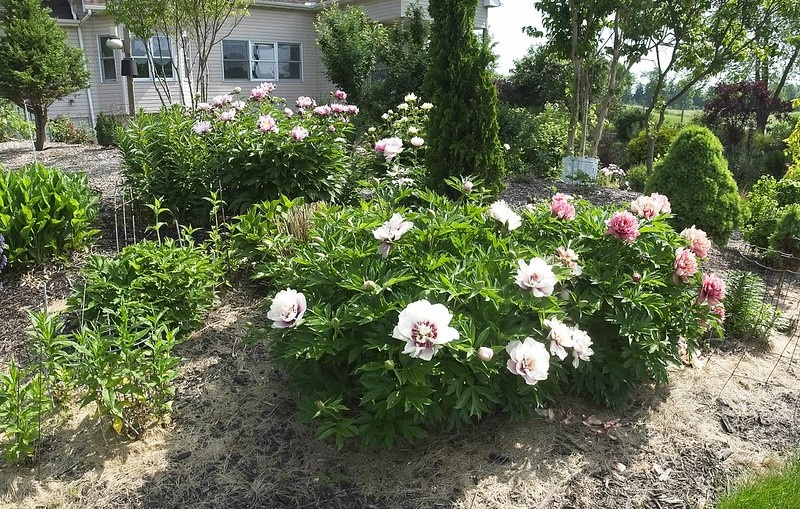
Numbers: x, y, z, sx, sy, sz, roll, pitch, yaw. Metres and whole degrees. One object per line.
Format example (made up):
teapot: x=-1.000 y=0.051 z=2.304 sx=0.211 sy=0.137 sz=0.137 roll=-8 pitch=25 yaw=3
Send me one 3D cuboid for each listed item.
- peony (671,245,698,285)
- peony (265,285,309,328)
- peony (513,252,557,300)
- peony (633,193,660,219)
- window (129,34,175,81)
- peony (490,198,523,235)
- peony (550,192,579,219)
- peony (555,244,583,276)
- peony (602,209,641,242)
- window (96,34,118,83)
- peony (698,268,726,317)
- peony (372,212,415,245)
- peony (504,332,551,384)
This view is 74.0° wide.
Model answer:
peony: x=2.491 y=0.106 z=4.658 sx=0.184 sy=0.315 sz=0.181 roll=5 pitch=22 yaw=12
peony: x=-0.878 y=0.409 z=4.078 sx=0.258 sy=0.300 sz=0.134 roll=-9 pitch=-12 yaw=7
peony: x=1.077 y=0.189 z=4.182 sx=0.356 sy=0.362 sz=0.244 roll=-1 pitch=22 yaw=-3
peony: x=2.258 y=-0.432 z=4.870 sx=0.203 sy=0.215 sz=0.143 roll=-3 pitch=1 yaw=30
window: x=-8.860 y=-6.980 z=18.826 sx=1.600 sy=1.582 sz=0.156 roll=-3 pitch=17 yaw=-10
peony: x=0.915 y=-0.315 z=4.733 sx=0.326 sy=0.079 sz=0.200 roll=40 pitch=44 yaw=-4
peony: x=1.458 y=-0.455 z=4.824 sx=0.244 sy=0.231 sz=0.164 roll=30 pitch=4 yaw=-37
peony: x=1.419 y=0.056 z=4.447 sx=0.106 sy=0.231 sz=0.224 roll=-26 pitch=-24 yaw=23
peony: x=1.916 y=-0.259 z=4.603 sx=0.258 sy=0.262 sz=0.157 roll=38 pitch=21 yaw=20
window: x=-10.501 y=-7.034 z=19.005 sx=0.551 sy=1.663 sz=0.124 roll=-5 pitch=1 yaw=-10
peony: x=2.823 y=0.366 z=4.789 sx=0.235 sy=0.391 sz=0.290 roll=14 pitch=25 yaw=31
peony: x=-0.063 y=-0.174 z=4.339 sx=0.259 sy=0.147 sz=0.264 roll=-18 pitch=41 yaw=33
peony: x=1.005 y=0.758 z=4.122 sx=0.350 sy=0.307 sz=0.159 roll=57 pitch=28 yaw=11
